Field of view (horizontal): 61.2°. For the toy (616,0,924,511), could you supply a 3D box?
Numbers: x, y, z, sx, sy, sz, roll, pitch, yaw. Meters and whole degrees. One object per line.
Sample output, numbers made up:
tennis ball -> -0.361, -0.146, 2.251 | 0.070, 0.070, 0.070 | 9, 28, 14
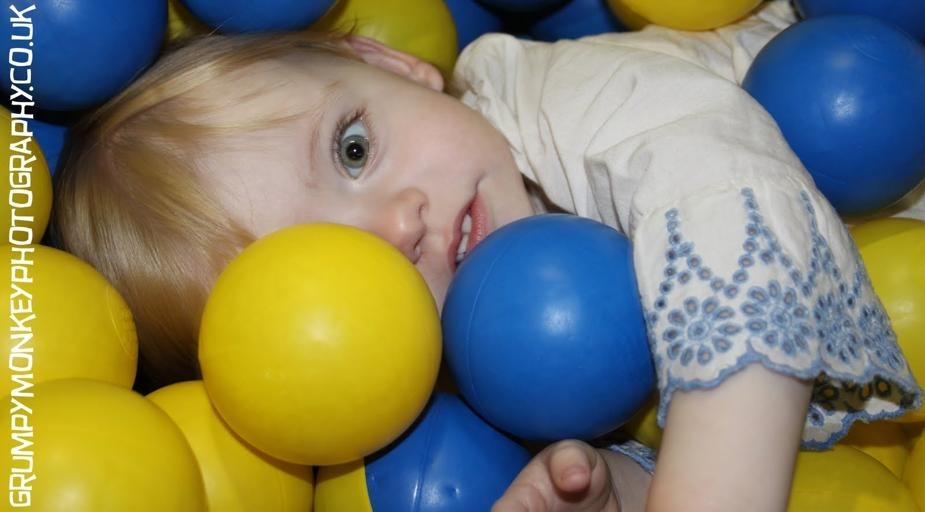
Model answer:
toy -> 0.859, 0.092, 2.304 | 1.152, 0.422, 1.177 | -7, 71, 24
